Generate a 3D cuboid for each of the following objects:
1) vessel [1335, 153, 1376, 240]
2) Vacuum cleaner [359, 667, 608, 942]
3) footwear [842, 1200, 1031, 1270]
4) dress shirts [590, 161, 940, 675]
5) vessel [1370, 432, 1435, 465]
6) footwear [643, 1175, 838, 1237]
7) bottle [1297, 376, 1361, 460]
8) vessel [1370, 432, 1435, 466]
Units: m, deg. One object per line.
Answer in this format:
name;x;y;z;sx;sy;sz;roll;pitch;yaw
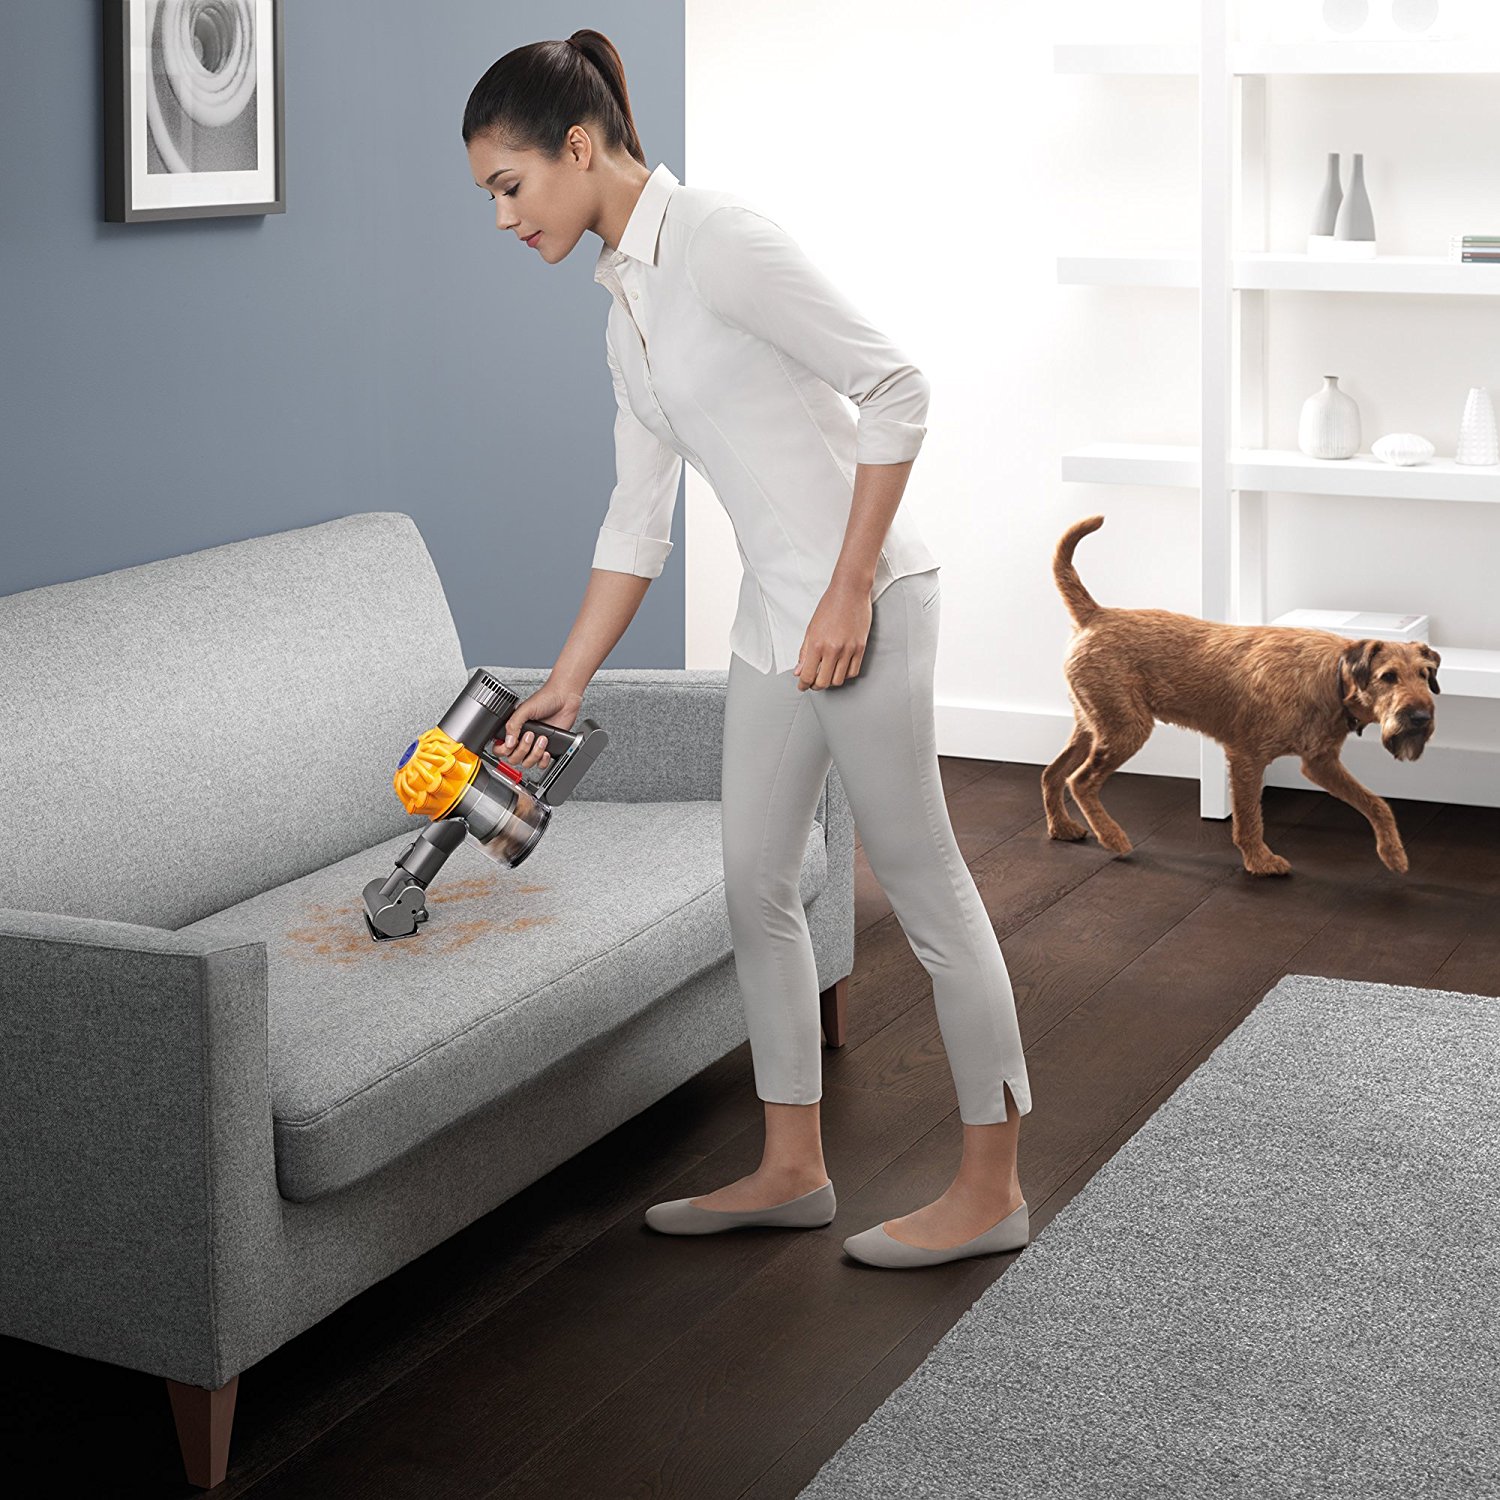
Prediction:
vessel;1.513;-1.369;3.304;0.086;0.228;0.196;5;14;24
Vacuum cleaner;-0.303;0.073;1.576;0.222;0.325;0.126;9;22;-17
footwear;0.228;0.570;1.615;0.221;0.071;0.079;-1;1;-12
dress shirts;-0.003;-0.327;1.371;0.383;0.515;0.189;11;18;43
vessel;1.595;-0.722;3.266;0.111;0.056;0.109;0;6;-1
footwear;-0.011;0.570;1.707;0.241;0.068;0.085;1;-2;-2
bottle;1.452;-0.834;3.342;0.145;0.201;0.117;7;15;30
vessel;1.597;-0.735;3.275;0.112;0.056;0.110;0;6;-1
